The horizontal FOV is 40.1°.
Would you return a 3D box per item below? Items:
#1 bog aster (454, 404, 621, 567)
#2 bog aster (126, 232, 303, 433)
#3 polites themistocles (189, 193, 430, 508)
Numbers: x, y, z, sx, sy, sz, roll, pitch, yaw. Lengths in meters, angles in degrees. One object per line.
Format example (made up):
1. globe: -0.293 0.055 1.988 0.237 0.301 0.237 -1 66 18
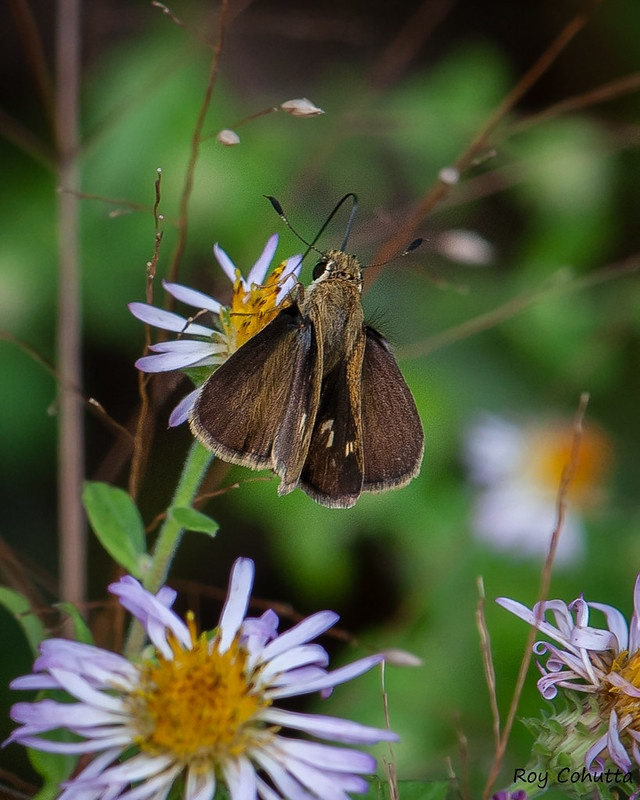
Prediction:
1. bog aster: 0.382 0.147 1.476 0.273 0.256 0.141 -4 -45 -2
2. bog aster: -0.120 -0.094 1.232 0.248 0.323 0.259 -3 -78 5
3. polites themistocles: -0.003 -0.043 1.221 0.442 0.410 0.179 14 -3 -37
